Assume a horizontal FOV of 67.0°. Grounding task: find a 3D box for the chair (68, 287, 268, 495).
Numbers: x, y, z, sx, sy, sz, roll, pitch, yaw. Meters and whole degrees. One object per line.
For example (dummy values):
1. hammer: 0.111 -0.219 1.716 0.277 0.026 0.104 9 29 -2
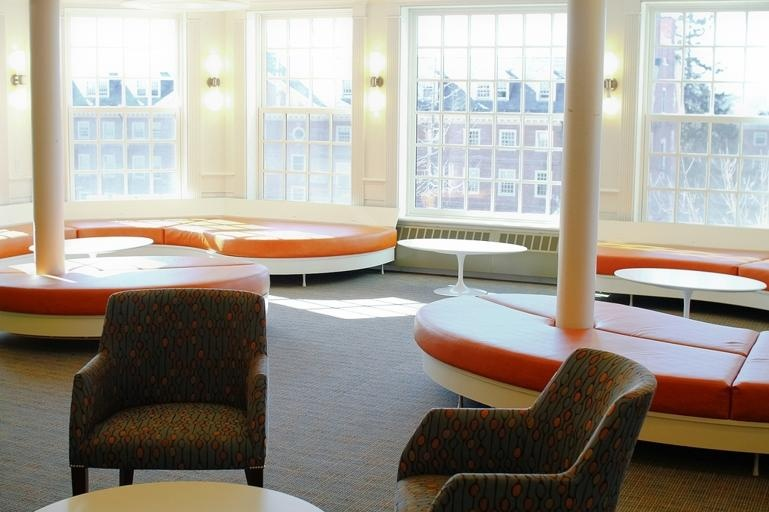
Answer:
1. chair: -1.001 0.705 2.876 0.868 0.869 0.780 4 5 -11
